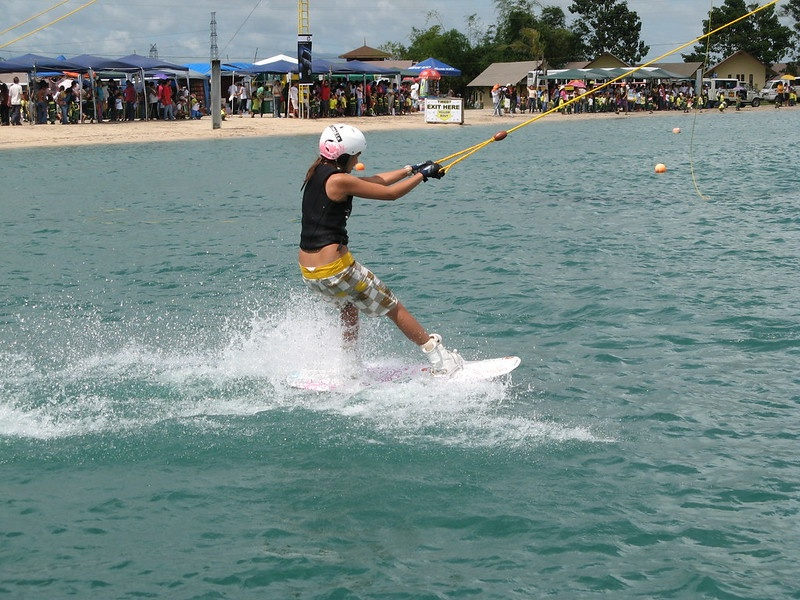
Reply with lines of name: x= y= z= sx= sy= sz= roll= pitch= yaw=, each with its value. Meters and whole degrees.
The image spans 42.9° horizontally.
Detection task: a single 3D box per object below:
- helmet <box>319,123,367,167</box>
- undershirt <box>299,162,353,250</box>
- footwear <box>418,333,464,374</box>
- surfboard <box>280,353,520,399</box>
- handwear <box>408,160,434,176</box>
helmet: x=-0.497 y=-1.568 z=10.135 sx=0.557 sy=0.293 sz=0.352 roll=9 pitch=20 yaw=-13
undershirt: x=-0.751 y=-0.943 z=10.077 sx=0.549 sy=0.903 sz=0.300 roll=-3 pitch=6 yaw=3
footwear: x=0.431 y=0.579 z=10.785 sx=0.372 sy=0.411 sz=0.208 roll=-25 pitch=35 yaw=26
surfboard: x=0.023 y=0.789 z=10.617 sx=3.132 sy=0.106 sz=0.650 roll=-4 pitch=16 yaw=0
handwear: x=0.259 y=-1.396 z=10.655 sx=0.186 sy=0.066 sz=0.268 roll=10 pitch=22 yaw=25
